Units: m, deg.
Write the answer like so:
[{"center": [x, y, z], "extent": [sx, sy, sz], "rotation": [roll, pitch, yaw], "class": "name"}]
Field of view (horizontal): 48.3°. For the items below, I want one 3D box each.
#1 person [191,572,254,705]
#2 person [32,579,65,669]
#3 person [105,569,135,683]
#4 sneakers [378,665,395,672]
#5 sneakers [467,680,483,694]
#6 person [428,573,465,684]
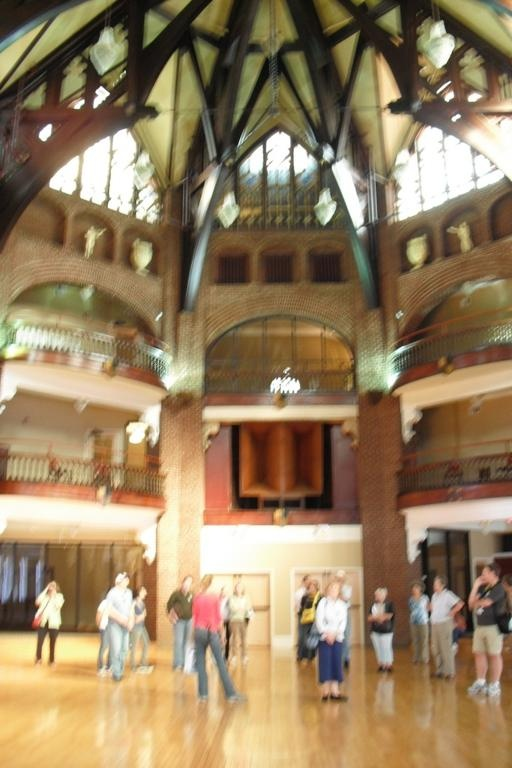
[{"center": [-0.457, 2.779, 6.187], "extent": [0.440, 1.357, 0.759], "rotation": [1, -14, -4], "class": "person"}, {"center": [-3.838, 4.401, 10.519], "extent": [0.493, 1.501, 1.862], "rotation": [5, -16, -19], "class": "person"}, {"center": [-1.912, 3.401, 7.909], "extent": [0.368, 1.443, 0.911], "rotation": [3, -15, -11], "class": "person"}, {"center": [2.209, 4.870, 9.763], "extent": [0.149, 0.086, 0.221], "rotation": [1, -10, 5], "class": "sneakers"}, {"center": [2.658, 3.650, 6.875], "extent": [0.210, 0.144, 0.102], "rotation": [-7, -21, 23], "class": "sneakers"}, {"center": [2.644, 3.435, 8.089], "extent": [0.325, 1.317, 0.558], "rotation": [28, -35, -27], "class": "person"}]
